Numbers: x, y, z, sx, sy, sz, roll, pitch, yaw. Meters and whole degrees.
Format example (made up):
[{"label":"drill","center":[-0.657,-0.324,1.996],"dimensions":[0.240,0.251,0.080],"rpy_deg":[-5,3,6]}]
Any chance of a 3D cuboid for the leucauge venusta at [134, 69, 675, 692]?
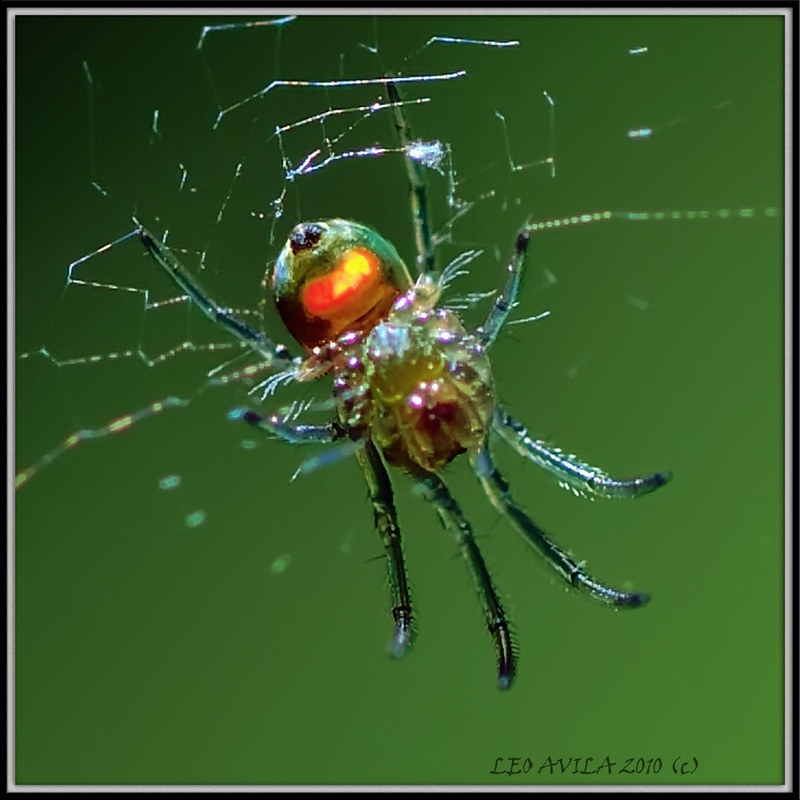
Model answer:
[{"label":"leucauge venusta","center":[0.028,-0.031,2.302],"dimensions":[0.856,0.455,1.549],"rpy_deg":[-24,74,-7]}]
